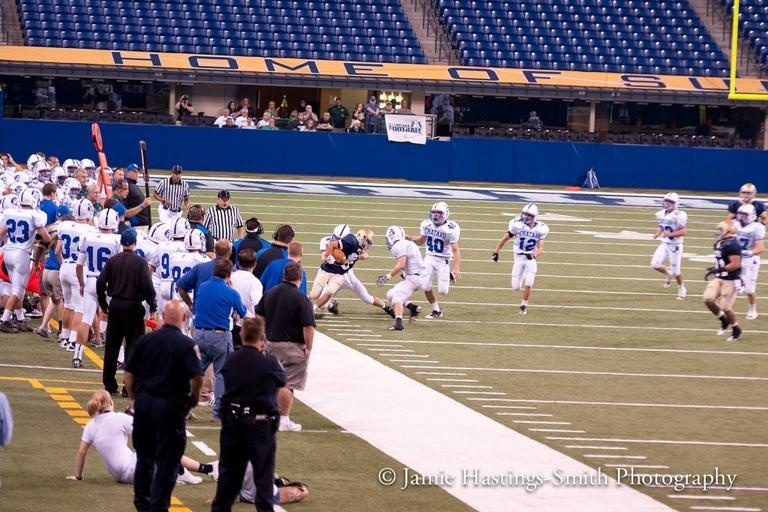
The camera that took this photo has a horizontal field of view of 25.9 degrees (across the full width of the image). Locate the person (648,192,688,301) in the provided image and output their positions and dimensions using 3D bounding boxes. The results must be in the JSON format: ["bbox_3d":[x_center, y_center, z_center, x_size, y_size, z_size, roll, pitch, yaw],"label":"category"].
[{"bbox_3d":[7.183,-0.227,41.460,1.081,2.531,1.156,2,3,43],"label":"person"}]

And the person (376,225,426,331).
[{"bbox_3d":[0.458,0.516,37.922,1.275,2.276,1.219,0,-5,3],"label":"person"}]

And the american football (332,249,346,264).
[{"bbox_3d":[-0.929,-0.004,36.546,0.268,0.309,0.166,-22,6,-13],"label":"american football"}]

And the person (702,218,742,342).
[{"bbox_3d":[7.845,0.588,38.060,1.010,2.634,1.125,-1,1,-2],"label":"person"}]

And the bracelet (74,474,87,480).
[{"bbox_3d":[-5.648,4.116,31.148,0.193,0.071,0.056,9,38,-5],"label":"bracelet"}]

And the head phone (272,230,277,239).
[{"bbox_3d":[-2.430,-0.494,37.650,0.131,0.240,0.293,1,10,3],"label":"head phone"}]

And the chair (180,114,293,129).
[{"bbox_3d":[-4.739,-4.444,55.247,3.684,0.383,0.562,2,11,-10],"label":"chair"}]

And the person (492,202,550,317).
[{"bbox_3d":[3.293,0.080,39.115,1.093,2.512,1.579,8,-4,-44],"label":"person"}]

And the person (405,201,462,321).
[{"bbox_3d":[1.247,0.142,38.290,1.384,2.659,1.131,6,1,39],"label":"person"}]
